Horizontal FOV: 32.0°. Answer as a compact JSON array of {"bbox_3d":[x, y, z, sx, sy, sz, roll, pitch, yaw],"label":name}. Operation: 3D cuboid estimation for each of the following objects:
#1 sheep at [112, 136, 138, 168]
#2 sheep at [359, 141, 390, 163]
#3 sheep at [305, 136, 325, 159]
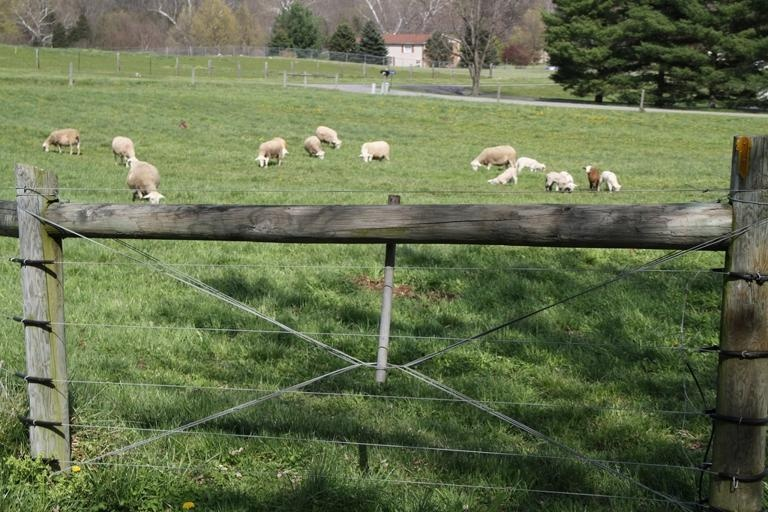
[{"bbox_3d":[-18.313,-7.383,93.541,1.254,1.818,2.185,-9,14,-43],"label":"sheep"},{"bbox_3d":[-0.681,-7.562,96.943,2.132,1.339,1.528,0,10,-2],"label":"sheep"},{"bbox_3d":[-5.015,-8.006,97.307,0.888,1.301,2.326,-13,33,-22],"label":"sheep"}]
